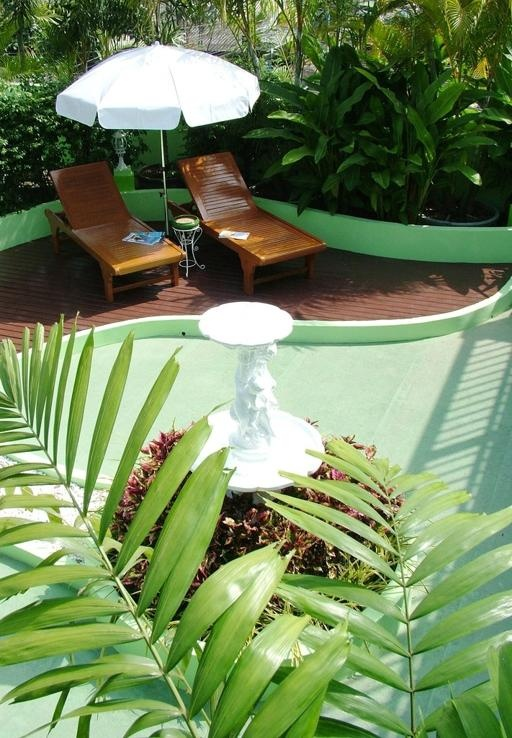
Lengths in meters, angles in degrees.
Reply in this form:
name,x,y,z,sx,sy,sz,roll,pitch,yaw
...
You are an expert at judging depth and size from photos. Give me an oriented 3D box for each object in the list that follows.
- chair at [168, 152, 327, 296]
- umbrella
name,x,y,z,sx,sy,sz,roll,pitch,yaw
chair,-0.117,-1.919,8.390,1.034,1.078,2.049,-23,45,-30
umbrella,-0.979,-2.743,7.485,1.680,1.548,1.556,4,36,9
